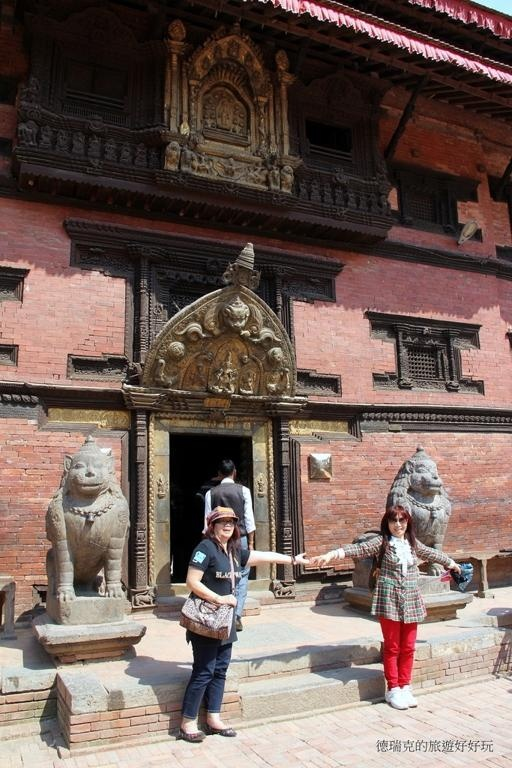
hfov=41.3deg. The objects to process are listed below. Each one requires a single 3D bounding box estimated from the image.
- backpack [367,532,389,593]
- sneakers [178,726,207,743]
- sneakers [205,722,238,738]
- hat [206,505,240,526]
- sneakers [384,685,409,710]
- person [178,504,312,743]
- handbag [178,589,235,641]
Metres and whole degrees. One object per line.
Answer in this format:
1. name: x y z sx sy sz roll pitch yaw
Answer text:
1. backpack: 0.920 1.437 5.357 0.117 0.452 0.345 9 5 13
2. sneakers: -0.435 2.307 4.455 0.146 0.054 0.082 -15 -27 28
3. sneakers: -0.238 2.311 4.550 0.181 0.065 0.095 -1 -14 4
4. hat: -0.251 0.870 4.607 0.184 0.087 0.250 5 -21 -15
5. sneakers: 1.047 2.355 5.075 0.095 0.091 0.198 1 -18 -12
6. person: -0.252 1.601 4.526 0.490 1.534 0.641 2 -2 21
7. handbag: -0.309 1.481 4.309 0.325 0.244 0.131 3 -2 -4
